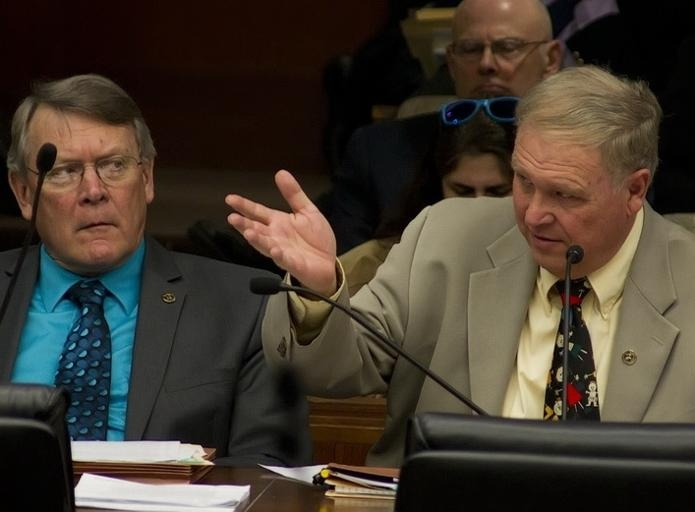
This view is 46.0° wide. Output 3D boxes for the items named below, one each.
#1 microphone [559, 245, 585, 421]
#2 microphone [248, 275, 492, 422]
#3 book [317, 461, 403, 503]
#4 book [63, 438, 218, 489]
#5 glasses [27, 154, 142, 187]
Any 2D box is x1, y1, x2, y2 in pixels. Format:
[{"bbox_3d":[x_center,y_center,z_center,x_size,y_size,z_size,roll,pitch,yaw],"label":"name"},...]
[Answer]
[{"bbox_3d":[0.572,0.205,2.085,0.085,0.085,0.491,-12,28,21],"label":"microphone"},{"bbox_3d":[0.074,0.248,2.239,0.776,0.082,0.076,29,49,-8],"label":"microphone"},{"bbox_3d":[0.018,0.525,1.971,0.207,0.055,0.177,1,7,7],"label":"book"},{"bbox_3d":[-0.504,0.492,1.991,0.213,0.048,0.204,0,5,1],"label":"book"},{"bbox_3d":[-0.818,-0.270,2.610,0.181,0.055,0.176,-4,-18,-21],"label":"glasses"}]
